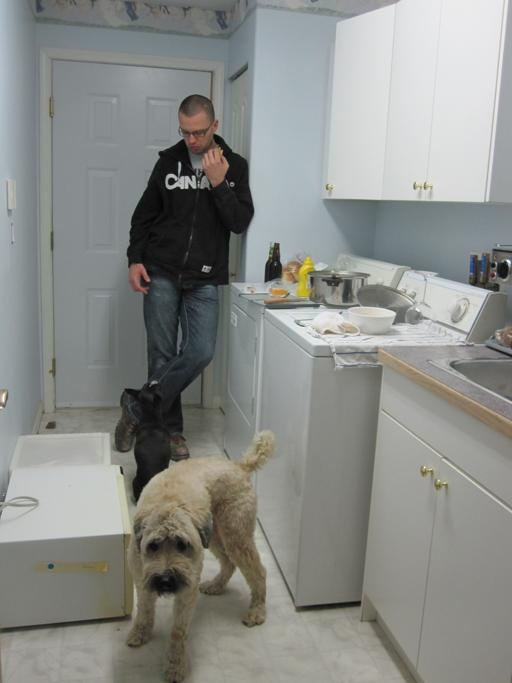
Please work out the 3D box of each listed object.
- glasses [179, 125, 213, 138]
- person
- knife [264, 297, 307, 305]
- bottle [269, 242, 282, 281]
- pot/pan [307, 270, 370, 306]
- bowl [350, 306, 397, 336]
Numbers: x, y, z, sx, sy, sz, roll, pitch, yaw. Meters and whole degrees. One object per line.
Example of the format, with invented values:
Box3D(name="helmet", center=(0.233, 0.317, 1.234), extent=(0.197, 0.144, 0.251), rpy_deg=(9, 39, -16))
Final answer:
Box3D(name="glasses", center=(-0.268, -0.901, 2.291), extent=(0.132, 0.053, 0.103), rpy_deg=(4, 10, -3))
Box3D(name="person", center=(-0.329, -0.249, 2.478), extent=(0.593, 1.656, 0.457), rpy_deg=(3, 9, -1))
Box3D(name="knife", center=(0.111, -0.153, 2.050), extent=(0.185, 0.025, 0.036), rpy_deg=(-2, 11, -29))
Box3D(name="bottle", center=(0.094, -0.381, 2.559), extent=(0.061, 0.179, 0.110), rpy_deg=(2, 10, -8))
Box3D(name="pot/pan", center=(0.321, -0.207, 2.109), extent=(0.226, 0.132, 0.245), rpy_deg=(6, 10, 11))
Box3D(name="bowl", center=(0.354, -0.064, 1.659), extent=(0.137, 0.067, 0.181), rpy_deg=(6, 10, 11))
